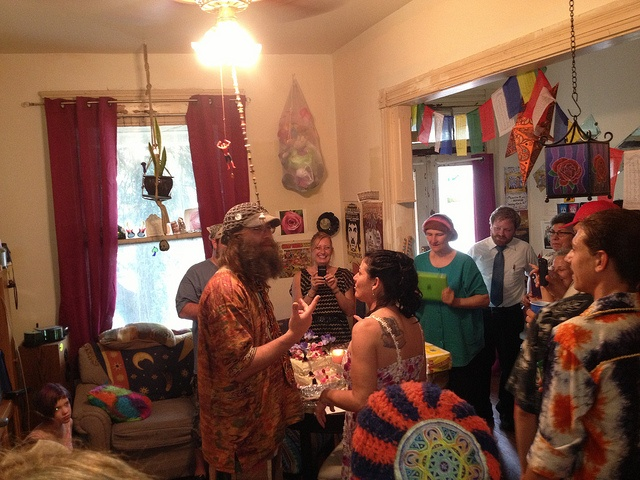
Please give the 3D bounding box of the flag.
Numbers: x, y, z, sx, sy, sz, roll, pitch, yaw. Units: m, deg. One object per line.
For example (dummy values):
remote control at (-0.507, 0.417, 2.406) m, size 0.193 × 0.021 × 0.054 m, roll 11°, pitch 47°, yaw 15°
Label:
flag at (1.199, -0.864, 3.547) m, size 0.375 × 0.553 × 1.173 m, roll -5°, pitch 5°, yaw -19°

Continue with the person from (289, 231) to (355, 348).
person at (0.016, 0.608, 3.935) m, size 0.540 × 1.310 × 0.422 m, roll -2°, pitch -3°, yaw -3°

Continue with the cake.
cake at (-0.019, 0.781, 2.874) m, size 0.249 × 0.071 × 0.259 m, roll -11°, pitch 14°, yaw -28°

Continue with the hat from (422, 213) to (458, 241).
hat at (0.901, -0.103, 3.790) m, size 0.174 × 0.180 × 0.234 m, roll -4°, pitch 8°, yaw 2°

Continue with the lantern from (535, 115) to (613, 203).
lantern at (1.402, -0.437, 2.714) m, size 0.304 × 0.418 × 0.331 m, roll -4°, pitch 3°, yaw -27°

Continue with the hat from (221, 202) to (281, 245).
hat at (-0.388, -0.135, 2.753) m, size 0.352 × 0.178 × 0.244 m, roll -8°, pitch -2°, yaw 43°

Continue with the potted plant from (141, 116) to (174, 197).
potted plant at (-1.474, -0.722, 4.394) m, size 0.259 × 0.756 × 0.630 m, roll -5°, pitch 5°, yaw -17°

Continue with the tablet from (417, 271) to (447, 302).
tablet at (0.761, 0.312, 3.387) m, size 0.226 × 0.204 × 0.075 m, roll -7°, pitch 12°, yaw 37°

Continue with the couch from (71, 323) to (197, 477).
couch at (-1.408, 1.187, 3.700) m, size 1.150 × 1.204 × 0.818 m, roll 2°, pitch -12°, yaw -24°

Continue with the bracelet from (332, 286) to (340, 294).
bracelet at (0.123, 0.381, 3.836) m, size 0.047 × 0.037 × 0.049 m, roll 2°, pitch 4°, yaw 5°

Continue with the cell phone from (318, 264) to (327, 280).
cell phone at (0.010, 0.240, 3.756) m, size 0.076 × 0.110 × 0.036 m, roll 0°, pitch 3°, yaw -4°
